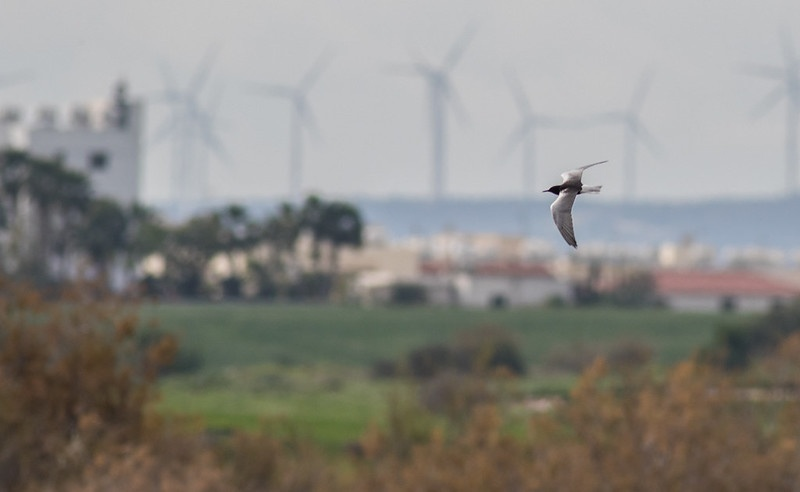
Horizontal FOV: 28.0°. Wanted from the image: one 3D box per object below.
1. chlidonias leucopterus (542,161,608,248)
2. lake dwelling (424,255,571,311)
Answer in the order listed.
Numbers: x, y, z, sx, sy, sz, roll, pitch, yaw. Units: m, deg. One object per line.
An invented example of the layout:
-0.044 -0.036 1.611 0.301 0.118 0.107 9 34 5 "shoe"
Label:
1.838 -0.572 17.094 0.722 1.276 0.143 -4 -37 28 "chlidonias leucopterus"
0.988 0.433 17.884 1.710 0.799 0.799 -2 -1 7 "lake dwelling"
